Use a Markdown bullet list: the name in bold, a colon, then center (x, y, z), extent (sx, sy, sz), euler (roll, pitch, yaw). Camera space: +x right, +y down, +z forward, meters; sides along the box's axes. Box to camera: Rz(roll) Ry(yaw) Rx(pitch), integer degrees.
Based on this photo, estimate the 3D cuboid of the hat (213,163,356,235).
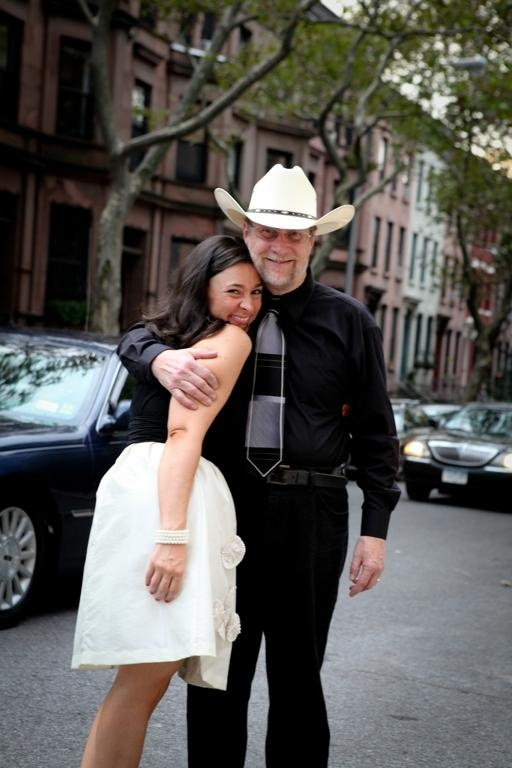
- **hat**: center (0.088, -0.557, 2.167), extent (0.328, 0.147, 0.353), euler (5, -9, 2)
